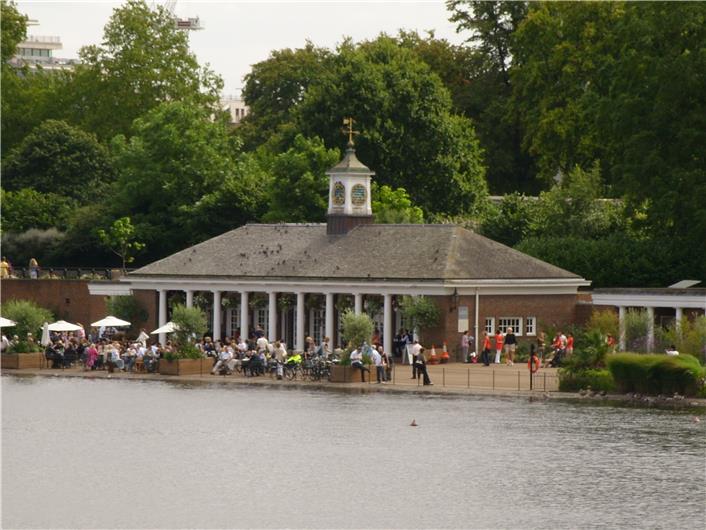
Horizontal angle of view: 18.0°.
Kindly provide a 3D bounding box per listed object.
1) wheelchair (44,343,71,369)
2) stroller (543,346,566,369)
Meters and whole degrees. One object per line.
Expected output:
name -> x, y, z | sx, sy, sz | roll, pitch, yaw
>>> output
wheelchair -> -16.378, 4.972, 124.327 | 1.108, 1.441, 0.602 | -3, -1, -6
stroller -> 10.803, 4.847, 119.497 | 1.031, 0.642, 1.448 | 1, -4, -4
